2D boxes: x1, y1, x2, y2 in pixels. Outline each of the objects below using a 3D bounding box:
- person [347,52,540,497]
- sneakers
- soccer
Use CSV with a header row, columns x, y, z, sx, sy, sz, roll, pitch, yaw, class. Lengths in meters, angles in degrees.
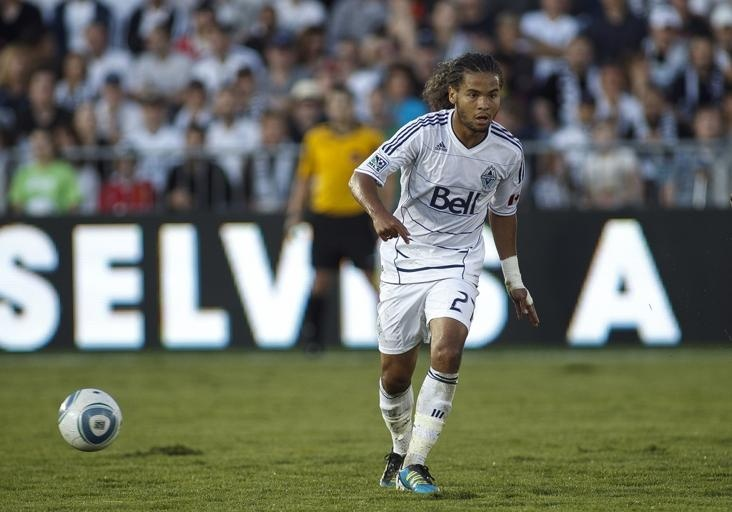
x,y,z,sx,sy,sz,roll,pitch,yaw,class
0.715,0.115,11.990,1.447,3.729,1.076,-5,14,-19,person
0.372,1.952,11.874,0.624,0.303,0.223,6,-4,39,sneakers
-2.542,1.516,12.371,0.535,0.588,0.536,3,-8,-9,soccer
